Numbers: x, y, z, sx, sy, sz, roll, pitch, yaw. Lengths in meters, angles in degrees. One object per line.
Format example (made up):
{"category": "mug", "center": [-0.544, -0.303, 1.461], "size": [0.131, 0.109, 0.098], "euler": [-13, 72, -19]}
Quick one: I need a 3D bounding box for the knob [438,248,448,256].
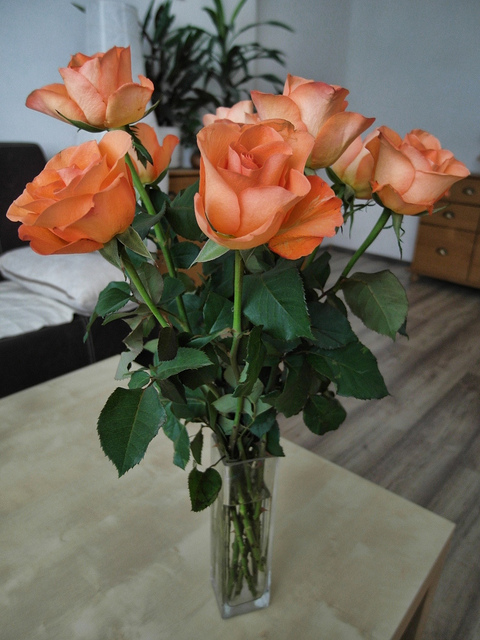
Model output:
{"category": "knob", "center": [1.135, -0.382, 2.906], "size": [0.042, 0.041, 0.012], "euler": [2, 14, 23]}

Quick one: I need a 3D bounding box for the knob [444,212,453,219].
{"category": "knob", "center": [1.134, -0.569, 2.830], "size": [0.037, 0.034, 0.035], "euler": [-3, 3, -2]}

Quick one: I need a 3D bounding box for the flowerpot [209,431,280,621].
{"category": "flowerpot", "center": [-0.003, 0.209, 0.514], "size": [0.087, 0.153, 0.085], "euler": [-2, 3, -40]}

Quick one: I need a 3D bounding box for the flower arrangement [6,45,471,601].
{"category": "flower arrangement", "center": [0.006, 0.062, 0.397], "size": [0.276, 0.488, 0.230], "euler": [5, 22, 16]}

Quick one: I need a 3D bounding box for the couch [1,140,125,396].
{"category": "couch", "center": [-0.598, -0.215, 1.654], "size": [0.400, 0.632, 0.727], "euler": [-6, 21, -13]}

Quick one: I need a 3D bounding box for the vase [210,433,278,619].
{"category": "vase", "center": [0.000, 0.206, 0.511], "size": [0.068, 0.148, 0.068], "euler": [1, -3, 34]}

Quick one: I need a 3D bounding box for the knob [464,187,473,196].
{"category": "knob", "center": [1.204, -0.676, 2.739], "size": [0.030, 0.033, 0.011], "euler": [-8, -18, 19]}
